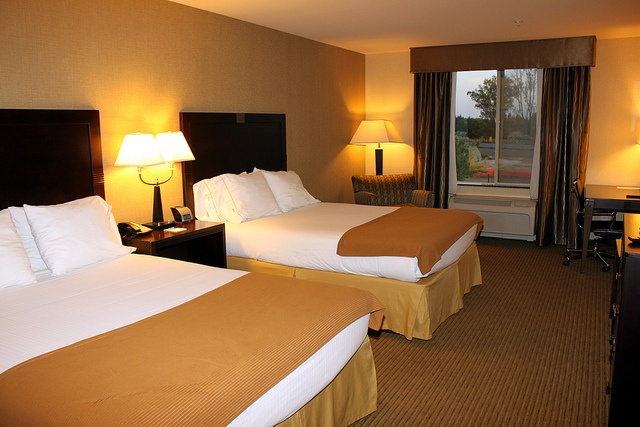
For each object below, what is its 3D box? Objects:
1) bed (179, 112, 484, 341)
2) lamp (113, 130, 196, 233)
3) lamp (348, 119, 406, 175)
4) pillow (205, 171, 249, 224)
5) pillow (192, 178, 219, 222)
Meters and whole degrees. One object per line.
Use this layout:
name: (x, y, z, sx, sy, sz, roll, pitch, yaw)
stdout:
bed: (0.163, -0.117, 5.613, 3.312, 2.227, 2.354, 2, 9, 27)
lamp: (-1.819, -0.356, 4.783, 0.361, 1.113, 0.938, 12, 19, 37)
lamp: (0.998, -1.110, 8.051, 0.958, 1.430, 0.968, -1, 0, 5)
pillow: (-1.102, -0.180, 5.178, 0.444, 0.504, 0.135, -14, -6, -41)
pillow: (-1.333, -0.169, 5.172, 0.378, 0.474, 0.123, -17, 13, -29)
